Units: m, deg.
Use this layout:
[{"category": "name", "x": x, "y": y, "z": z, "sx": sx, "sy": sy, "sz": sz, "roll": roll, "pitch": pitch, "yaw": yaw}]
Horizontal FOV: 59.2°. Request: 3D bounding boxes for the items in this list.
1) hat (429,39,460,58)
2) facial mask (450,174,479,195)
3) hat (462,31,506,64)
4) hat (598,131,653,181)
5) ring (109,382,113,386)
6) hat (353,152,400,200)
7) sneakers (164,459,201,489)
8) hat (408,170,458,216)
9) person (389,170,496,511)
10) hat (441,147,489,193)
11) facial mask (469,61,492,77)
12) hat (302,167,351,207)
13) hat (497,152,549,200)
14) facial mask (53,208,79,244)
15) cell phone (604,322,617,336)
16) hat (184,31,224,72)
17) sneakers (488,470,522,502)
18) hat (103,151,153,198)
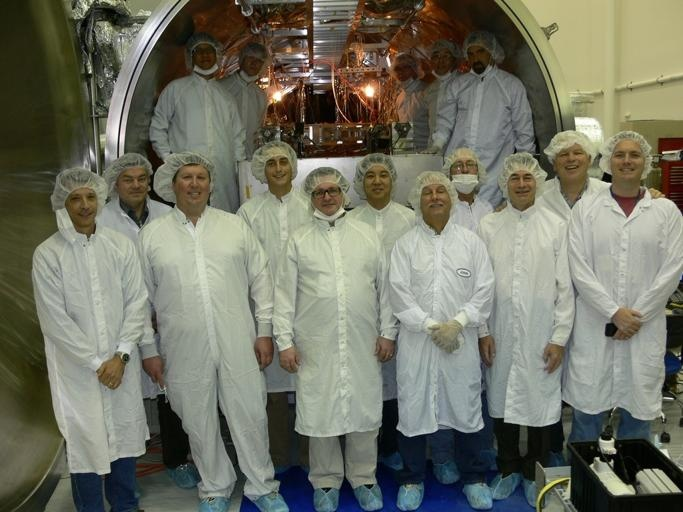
[{"category": "hat", "x": 0.904, "y": -1.789, "z": 5.201, "sx": 0.257, "sy": 0.088, "sz": 0.268, "roll": 1, "pitch": 5, "yaw": -1}, {"category": "facial mask", "x": 0.771, "y": -0.449, "z": 3.781, "sx": 0.130, "sy": 0.084, "sz": 0.138, "roll": -1, "pitch": 22, "yaw": 1}, {"category": "hat", "x": 1.065, "y": -1.539, "z": 4.443, "sx": 0.214, "sy": 0.093, "sz": 0.255, "roll": 6, "pitch": -35, "yaw": 38}, {"category": "hat", "x": 1.637, "y": -0.603, "z": 3.511, "sx": 0.270, "sy": 0.331, "sz": 0.108, "roll": 6, "pitch": -3, "yaw": 12}, {"category": "ring", "x": -1.198, "y": 0.663, "z": 3.132, "sx": 0.015, "sy": 0.021, "sz": 0.006, "roll": 3, "pitch": -4, "yaw": -20}, {"category": "hat", "x": 0.189, "y": -0.529, "z": 3.807, "sx": 0.221, "sy": 0.311, "sz": 0.088, "roll": 4, "pitch": 17, "yaw": 13}, {"category": "sneakers", "x": -0.992, "y": 1.358, "z": 3.768, "sx": 0.105, "sy": 0.090, "sz": 0.197, "roll": -10, "pitch": 9, "yaw": -39}, {"category": "hat", "x": 0.525, "y": -0.378, "z": 3.486, "sx": 0.214, "sy": 0.275, "sz": 0.087, "roll": 2, "pitch": 10, "yaw": 22}, {"category": "person", "x": 0.575, "y": 0.477, "z": 3.398, "sx": 0.568, "sy": 1.897, "sz": 0.398, "roll": -1, "pitch": 6, "yaw": 14}, {"category": "hat", "x": 0.791, "y": -0.568, "z": 3.902, "sx": 0.248, "sy": 0.314, "sz": 0.121, "roll": 0, "pitch": 10, "yaw": 8}, {"category": "facial mask", "x": 1.031, "y": -1.381, "z": 4.470, "sx": 0.086, "sy": 0.074, "sz": 0.121, "roll": -1, "pitch": 20, "yaw": 27}, {"category": "hat", "x": -0.089, "y": -0.400, "z": 3.549, "sx": 0.253, "sy": 0.310, "sz": 0.107, "roll": 1, "pitch": 16, "yaw": 3}, {"category": "hat", "x": 1.105, "y": -0.475, "z": 3.618, "sx": 0.336, "sy": 0.412, "sz": 0.119, "roll": 3, "pitch": 11, "yaw": 24}, {"category": "facial mask", "x": -1.443, "y": -0.153, "z": 3.157, "sx": 0.093, "sy": 0.181, "sz": 0.041, "roll": -17, "pitch": 3, "yaw": -16}, {"category": "cell phone", "x": 1.478, "y": 0.404, "z": 3.304, "sx": 0.060, "sy": 0.062, "sz": 0.062, "roll": 0, "pitch": -7, "yaw": 0}, {"category": "hat", "x": -1.028, "y": -1.534, "z": 4.498, "sx": 0.252, "sy": 0.274, "sz": 0.226, "roll": -2, "pitch": 6, "yaw": -6}, {"category": "sneakers", "x": 0.943, "y": 1.318, "z": 3.480, "sx": 0.094, "sy": 0.071, "sz": 0.187, "roll": 2, "pitch": 12, "yaw": 37}, {"category": "hat", "x": -1.325, "y": -0.516, "z": 3.659, "sx": 0.245, "sy": 0.100, "sz": 0.271, "roll": 6, "pitch": -42, "yaw": -44}]
